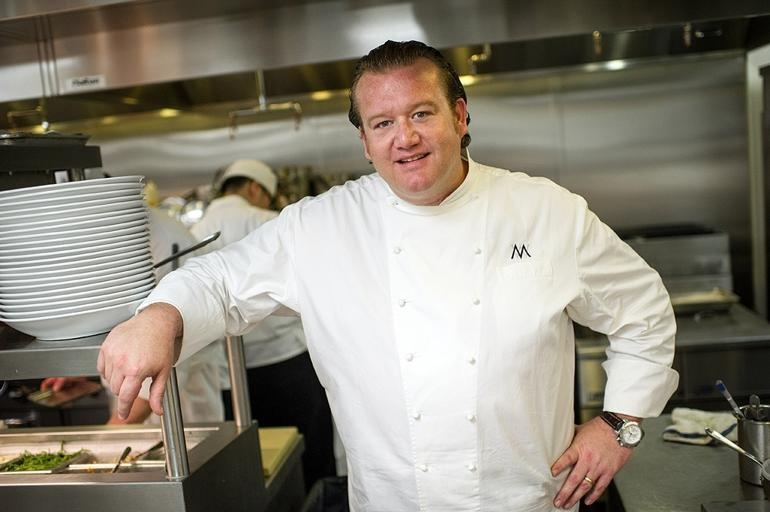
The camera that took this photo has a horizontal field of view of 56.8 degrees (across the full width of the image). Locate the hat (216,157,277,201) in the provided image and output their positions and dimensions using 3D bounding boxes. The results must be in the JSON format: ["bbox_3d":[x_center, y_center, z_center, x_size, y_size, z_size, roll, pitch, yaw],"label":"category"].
[{"bbox_3d":[-0.695,-0.387,3.724,0.213,0.125,0.242,7,0,26],"label":"hat"}]
